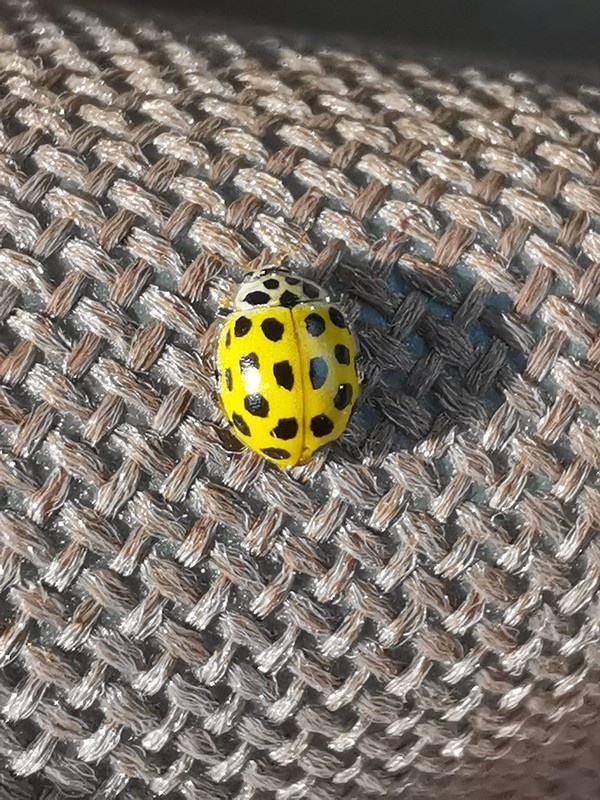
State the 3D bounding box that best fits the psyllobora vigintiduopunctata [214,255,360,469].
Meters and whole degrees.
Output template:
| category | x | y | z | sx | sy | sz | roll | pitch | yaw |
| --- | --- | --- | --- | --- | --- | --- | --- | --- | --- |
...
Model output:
| category | x | y | z | sx | sy | sz | roll | pitch | yaw |
| --- | --- | --- | --- | --- | --- | --- | --- | --- | --- |
| psyllobora vigintiduopunctata | -0.003 | -0.014 | 0.426 | 0.076 | 0.036 | 0.087 | -4 | 86 | -1 |
